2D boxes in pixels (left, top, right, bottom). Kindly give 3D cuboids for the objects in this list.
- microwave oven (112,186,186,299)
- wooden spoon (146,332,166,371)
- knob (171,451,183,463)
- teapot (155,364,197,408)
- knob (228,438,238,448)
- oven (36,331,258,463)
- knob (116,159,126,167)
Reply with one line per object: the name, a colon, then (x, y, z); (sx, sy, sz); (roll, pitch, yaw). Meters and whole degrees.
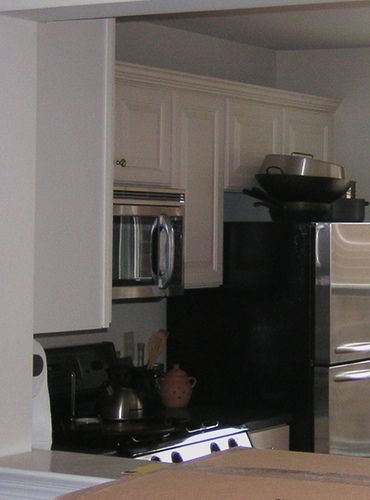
microwave oven: (-0.172, -0.047, 2.277); (0.335, 0.420, 0.304); (-6, 12, -39)
wooden spoon: (-0.144, 0.483, 2.624); (0.065, 0.193, 0.030); (13, -11, 31)
knob: (-0.029, 0.715, 1.886); (0.041, 0.027, 0.047); (0, 3, -1)
teapot: (-0.055, 0.616, 2.562); (0.172, 0.205, 0.203); (8, 6, 38)
knob: (0.178, 0.725, 2.056); (0.035, 0.024, 0.038); (0, 3, 1)
oven: (-0.140, 0.576, 2.138); (0.463, 0.551, 0.656); (-10, -11, 36)
knob: (-0.253, -0.348, 2.202); (0.030, 0.031, 0.048); (3, 4, 39)
